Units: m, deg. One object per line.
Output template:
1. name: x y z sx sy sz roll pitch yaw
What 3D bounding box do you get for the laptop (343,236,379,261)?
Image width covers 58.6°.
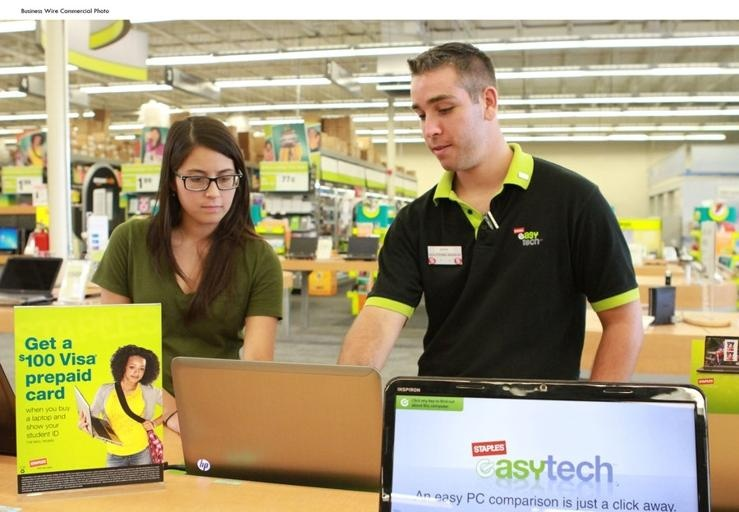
1. laptop: -0.070 -0.094 7.625 0.352 0.230 0.275 0 -4 11

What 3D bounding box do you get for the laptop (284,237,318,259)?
1. laptop: -0.774 -0.096 7.725 0.333 0.260 0.302 3 0 -6

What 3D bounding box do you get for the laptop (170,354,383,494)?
1. laptop: -0.227 0.432 1.707 0.524 0.315 0.364 1 5 10

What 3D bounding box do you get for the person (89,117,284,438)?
1. person: -0.627 0.130 2.284 0.653 1.166 0.670 6 7 14

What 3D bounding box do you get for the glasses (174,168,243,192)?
1. glasses: -0.537 -0.250 2.220 0.210 0.067 0.073 3 0 -13
